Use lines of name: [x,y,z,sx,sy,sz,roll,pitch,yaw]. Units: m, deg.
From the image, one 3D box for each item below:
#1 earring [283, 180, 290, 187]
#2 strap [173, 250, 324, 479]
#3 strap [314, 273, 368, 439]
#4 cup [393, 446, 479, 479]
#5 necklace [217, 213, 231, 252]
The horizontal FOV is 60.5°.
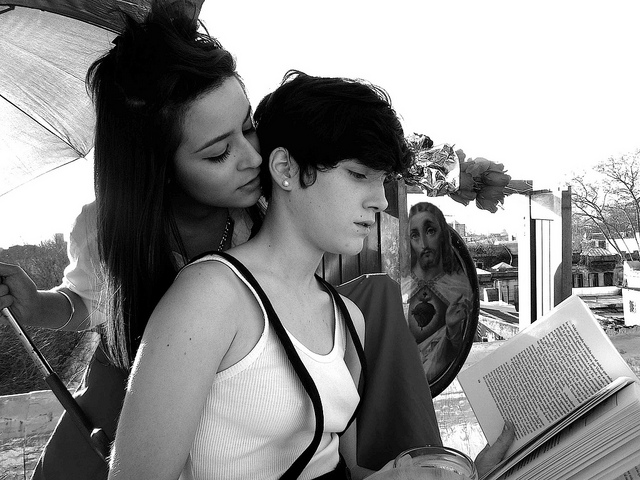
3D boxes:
earring: [-0.079,-0.133,1.281,0.015,0.016,0.003,3,-5,9]
strap: [-0.090,0.268,1.337,0.288,0.526,0.097,-38,-20,13]
strap: [0.100,0.307,1.469,0.067,0.392,0.189,-21,-17,37]
cup: [0.254,0.494,1.223,0.185,0.058,0.085,2,-7,16]
necklace: [-0.272,-0.022,1.629,0.022,0.102,0.066,-6,11,-36]
